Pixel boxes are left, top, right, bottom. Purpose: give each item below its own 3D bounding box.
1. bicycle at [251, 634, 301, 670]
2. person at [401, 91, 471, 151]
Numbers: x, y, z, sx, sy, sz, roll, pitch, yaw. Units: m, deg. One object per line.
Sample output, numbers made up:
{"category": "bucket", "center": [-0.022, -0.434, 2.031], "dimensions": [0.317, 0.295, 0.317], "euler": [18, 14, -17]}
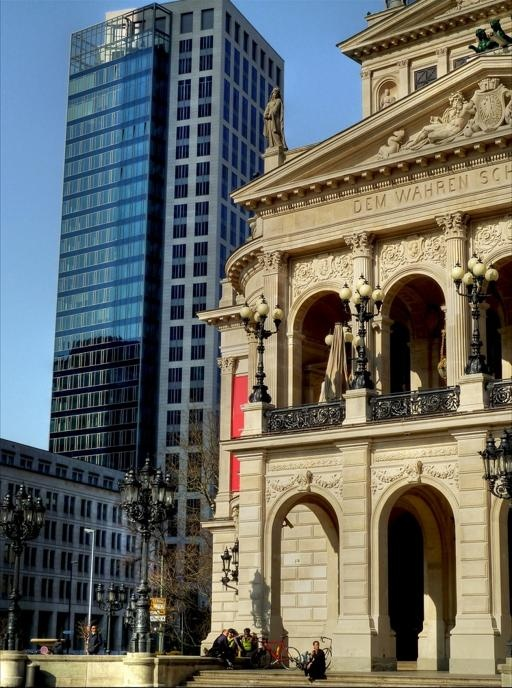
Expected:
{"category": "bicycle", "center": [0.554, 8.945, 42.650], "dimensions": [1.130, 1.176, 1.078], "euler": [4, -18, -16]}
{"category": "person", "center": [5.388, -6.460, 44.216], "dimensions": [2.370, 0.930, 1.437], "euler": [-20, -66, 36]}
